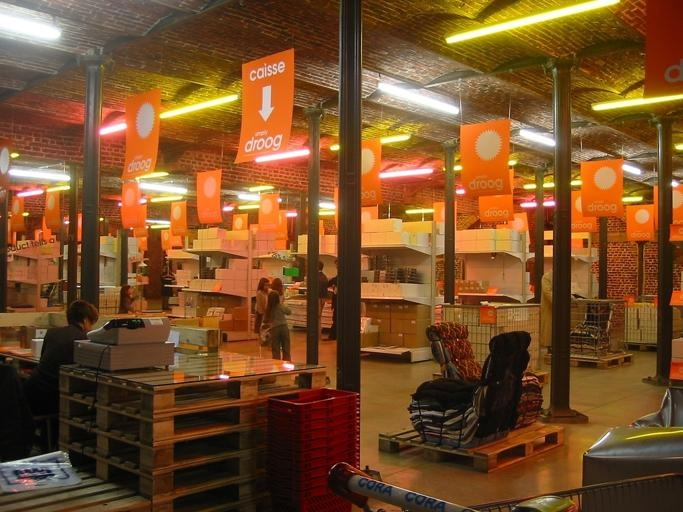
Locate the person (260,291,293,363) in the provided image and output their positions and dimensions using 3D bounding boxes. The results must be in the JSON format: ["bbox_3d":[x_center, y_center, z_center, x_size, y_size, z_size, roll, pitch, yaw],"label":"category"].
[{"bbox_3d":[-1.253,1.310,11.387,0.516,1.325,1.084,0,-5,-7],"label":"person"}]

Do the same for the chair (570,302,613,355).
[{"bbox_3d":[5.575,1.511,13.870,1.054,1.207,0.912,2,1,-4],"label":"chair"}]

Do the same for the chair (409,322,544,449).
[{"bbox_3d":[1.557,1.510,7.010,1.357,1.314,1.517,-3,-5,25],"label":"chair"}]
